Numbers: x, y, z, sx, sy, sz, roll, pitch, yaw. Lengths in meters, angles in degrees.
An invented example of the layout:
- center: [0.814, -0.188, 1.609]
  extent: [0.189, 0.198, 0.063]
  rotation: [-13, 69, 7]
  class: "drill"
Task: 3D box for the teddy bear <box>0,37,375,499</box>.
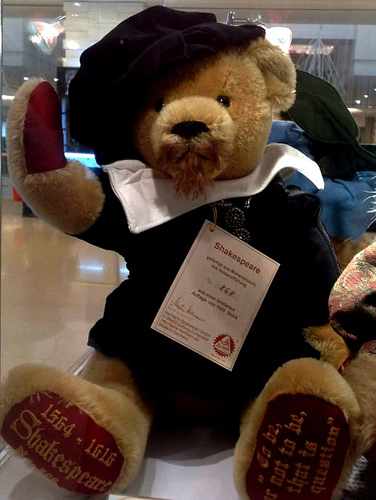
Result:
- center: [-0.006, 0.023, 0.619]
  extent: [0.492, 0.634, 0.229]
  rotation: [-3, 10, 9]
  class: "teddy bear"
